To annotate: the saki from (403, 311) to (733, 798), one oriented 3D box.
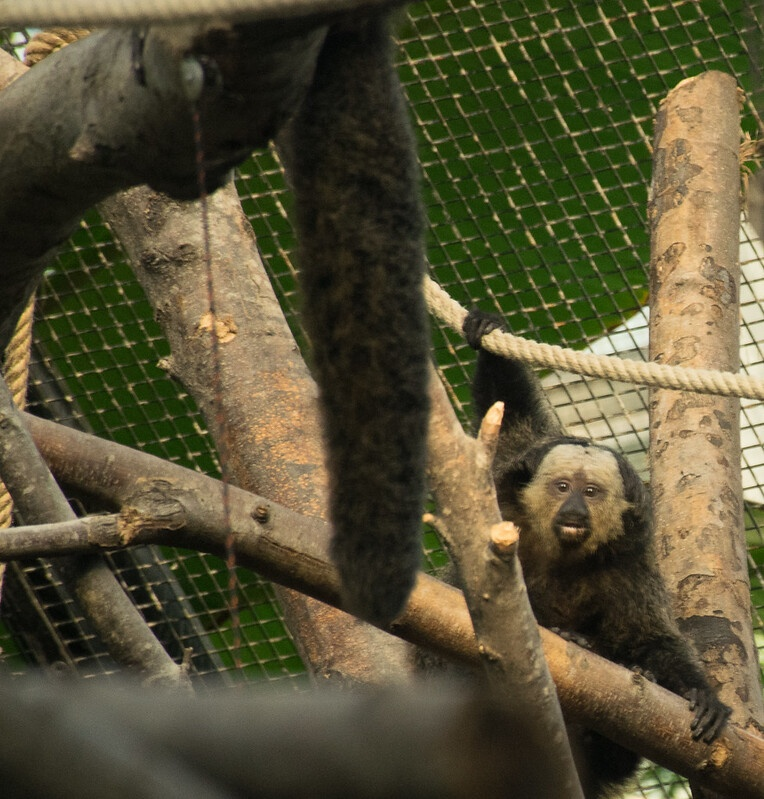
[{"bbox_3d":[0.589,0.458,6.932,0.555,1.389,1.618,-6,14,2],"label":"saki"}]
